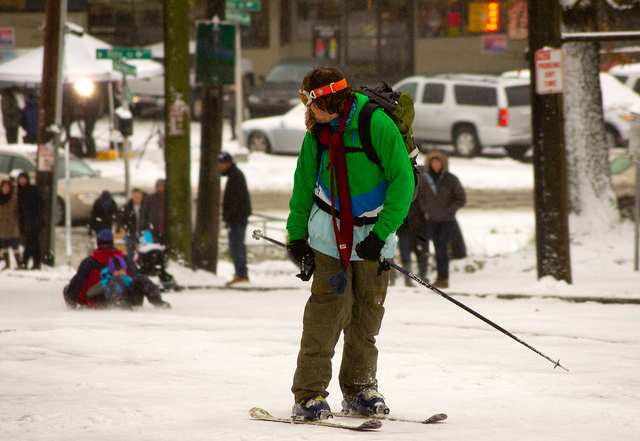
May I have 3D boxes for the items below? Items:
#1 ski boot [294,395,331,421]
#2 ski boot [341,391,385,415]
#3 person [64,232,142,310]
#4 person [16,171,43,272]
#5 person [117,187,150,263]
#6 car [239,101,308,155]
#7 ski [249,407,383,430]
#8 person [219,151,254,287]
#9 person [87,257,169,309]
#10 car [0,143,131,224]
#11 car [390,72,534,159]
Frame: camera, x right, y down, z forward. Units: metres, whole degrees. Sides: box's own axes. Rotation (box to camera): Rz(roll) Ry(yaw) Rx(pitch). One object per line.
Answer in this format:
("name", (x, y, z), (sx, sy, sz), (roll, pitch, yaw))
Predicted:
("ski boot", (-0.087, 2.068, 16.946), (0.340, 0.231, 0.160), (-8, 14, 29))
("ski boot", (0.499, 2.036, 17.106), (0.340, 0.169, 0.223), (0, 35, 7))
("person", (-2.890, 0.762, 20.343), (1.219, 0.723, 1.695), (-1, -16, -7))
("person", (-4.104, -0.023, 21.154), (0.382, 1.346, 0.261), (3, 13, 5))
("person", (-2.626, 0.173, 21.602), (0.520, 1.386, 0.425), (-3, 21, -10))
("car", (-0.982, -1.902, 30.739), (1.524, 0.845, 0.976), (1, 8, 11))
("ski", (-0.067, 2.184, 16.920), (1.488, 0.100, 0.174), (5, 15, 10))
("person", (-1.247, -0.097, 22.308), (0.461, 1.802, 0.853), (-1, 14, -12))
("person", (-2.500, 0.802, 19.703), (0.761, 0.587, 0.557), (-5, 4, 21))
("car", (-3.530, -0.588, 21.319), (1.880, 0.818, 0.878), (3, 6, 21))
("car", (2.862, -1.917, 29.164), (2.755, 1.234, 1.572), (12, 14, 42))
